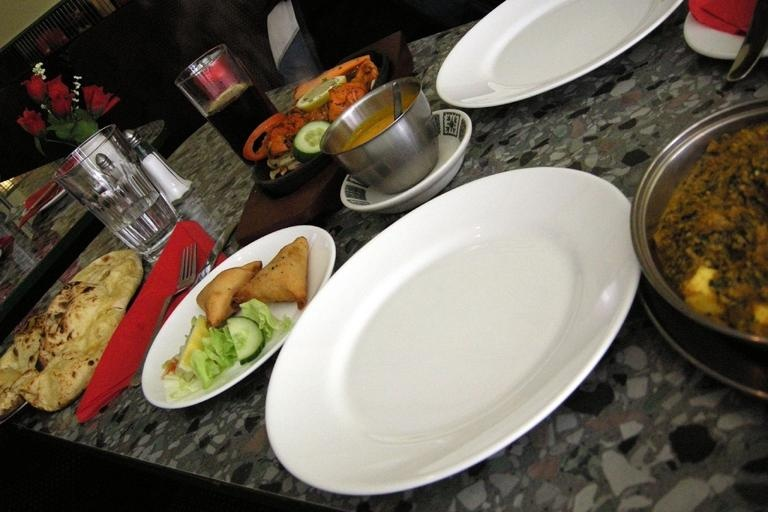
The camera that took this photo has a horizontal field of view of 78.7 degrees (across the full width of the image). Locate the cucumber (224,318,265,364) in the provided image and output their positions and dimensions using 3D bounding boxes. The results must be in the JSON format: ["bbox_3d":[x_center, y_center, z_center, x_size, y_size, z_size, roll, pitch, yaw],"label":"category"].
[{"bbox_3d":[-0.275,0.151,0.921,0.069,0.110,0.026,-21,32,-10],"label":"cucumber"}]

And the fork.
[{"bbox_3d":[-0.494,0.065,1.188,0.055,0.058,0.512,-14,51,33],"label":"fork"}]

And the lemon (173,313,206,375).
[{"bbox_3d":[-0.409,0.175,0.964,0.042,0.068,0.124,-33,40,42],"label":"lemon"}]

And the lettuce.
[{"bbox_3d":[-0.297,0.173,0.921,0.148,0.081,0.195,2,18,-10],"label":"lettuce"}]

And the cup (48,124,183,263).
[{"bbox_3d":[-0.795,-0.176,1.460,0.233,0.380,0.229,-14,43,13],"label":"cup"}]

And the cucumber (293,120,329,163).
[{"bbox_3d":[-0.168,-0.290,1.183,0.109,0.031,0.130,-20,50,5],"label":"cucumber"}]

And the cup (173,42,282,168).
[{"bbox_3d":[-0.479,-0.470,1.534,0.207,0.354,0.203,-25,26,13],"label":"cup"}]
